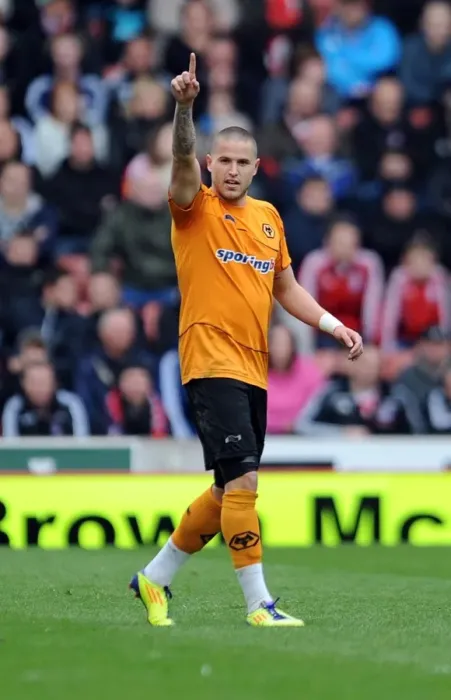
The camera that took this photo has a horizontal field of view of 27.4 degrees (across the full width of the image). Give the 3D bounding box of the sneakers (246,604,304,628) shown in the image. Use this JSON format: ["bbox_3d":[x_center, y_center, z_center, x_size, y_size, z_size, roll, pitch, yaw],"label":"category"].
[{"bbox_3d":[0.166,0.911,3.168,0.209,0.089,0.073,-2,-7,18],"label":"sneakers"}]
